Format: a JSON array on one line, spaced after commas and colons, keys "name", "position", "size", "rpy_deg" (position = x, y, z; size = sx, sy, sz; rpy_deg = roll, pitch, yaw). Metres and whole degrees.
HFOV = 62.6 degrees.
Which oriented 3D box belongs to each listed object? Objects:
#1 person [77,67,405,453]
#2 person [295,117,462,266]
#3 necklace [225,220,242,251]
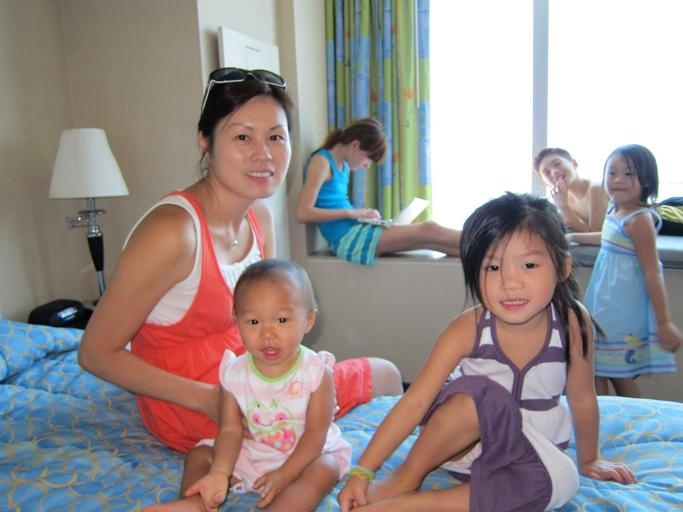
[{"name": "person", "position": [-0.379, -0.066, 2.115], "size": [0.930, 1.444, 1.042], "rpy_deg": [6, 13, 17]}, {"name": "person", "position": [0.338, -0.367, 3.360], "size": [1.070, 0.893, 0.550], "rpy_deg": [6, 6, 6]}, {"name": "necklace", "position": [-0.336, -0.065, 1.740], "size": [0.012, 0.040, 0.092], "rpy_deg": [-13, 35, 23]}]
